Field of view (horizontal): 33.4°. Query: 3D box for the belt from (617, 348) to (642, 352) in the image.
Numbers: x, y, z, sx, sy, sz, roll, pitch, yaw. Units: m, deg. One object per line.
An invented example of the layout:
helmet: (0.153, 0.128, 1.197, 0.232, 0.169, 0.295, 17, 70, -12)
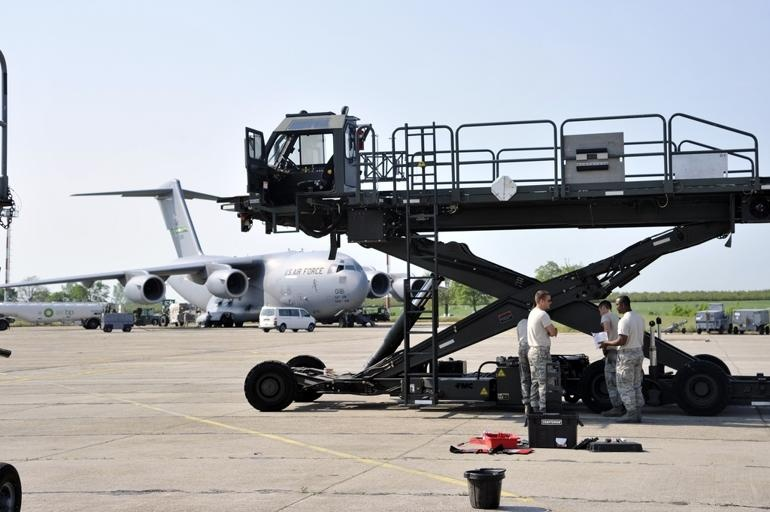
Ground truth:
belt: (5.980, 2.306, 31.337, 0.561, 0.089, 0.189, 1, -4, 9)

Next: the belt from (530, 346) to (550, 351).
belt: (3.767, 2.262, 31.152, 0.458, 0.128, 0.208, 2, -4, 0)

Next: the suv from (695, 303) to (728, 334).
suv: (18.039, 3.583, 70.165, 1.144, 1.138, 2.199, 1, 4, 27)

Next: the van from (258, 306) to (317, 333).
van: (-5.565, 3.764, 74.514, 2.738, 1.092, 1.470, 0, 0, -33)

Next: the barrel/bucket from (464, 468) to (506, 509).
barrel/bucket: (2.055, 4.712, 26.238, 0.856, 0.616, 0.786, -1, 3, 0)

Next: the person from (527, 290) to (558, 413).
person: (3.817, 2.328, 31.168, 0.763, 2.877, 0.544, 0, -6, 27)

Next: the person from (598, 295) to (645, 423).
person: (5.955, 2.519, 31.556, 0.767, 3.078, 0.974, -1, -6, 31)
